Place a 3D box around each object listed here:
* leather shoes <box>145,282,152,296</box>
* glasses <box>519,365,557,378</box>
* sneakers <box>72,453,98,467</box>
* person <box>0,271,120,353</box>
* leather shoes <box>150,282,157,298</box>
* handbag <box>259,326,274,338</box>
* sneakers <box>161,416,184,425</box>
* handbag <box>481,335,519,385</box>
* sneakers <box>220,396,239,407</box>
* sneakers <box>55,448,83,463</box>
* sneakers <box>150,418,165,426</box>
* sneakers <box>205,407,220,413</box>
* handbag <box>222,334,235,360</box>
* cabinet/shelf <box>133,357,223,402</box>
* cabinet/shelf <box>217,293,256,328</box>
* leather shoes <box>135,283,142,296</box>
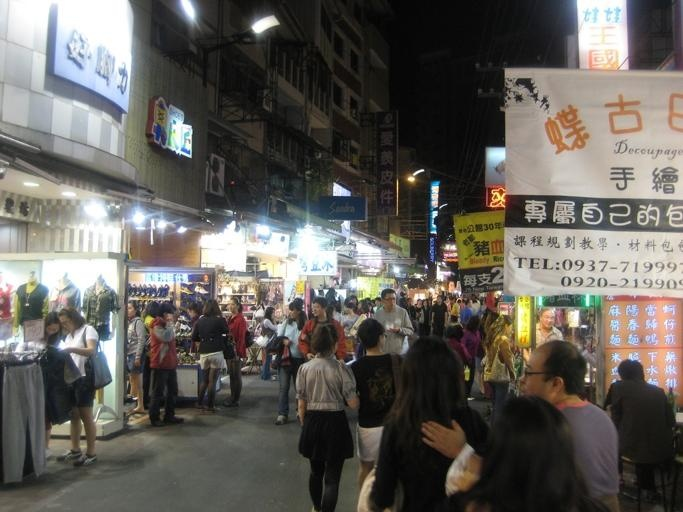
[{"bbox_3d":[-4.302,0.711,13.982,0.083,0.272,0.110,3,3,1],"label":"leather shoes"},{"bbox_3d":[1.559,0.919,4.990,0.108,0.120,0.280,-2,4,-44],"label":"glasses"},{"bbox_3d":[-3.626,2.823,8.851,0.318,0.146,0.122,2,7,-4],"label":"sneakers"},{"bbox_3d":[-4.450,0.904,9.938,1.184,1.223,0.408,-1,-6,0],"label":"person"},{"bbox_3d":[-4.202,0.740,13.975,0.095,0.315,0.127,2,4,4],"label":"leather shoes"},{"bbox_3d":[-1.605,1.597,13.474,0.257,0.215,0.148,-22,-29,16],"label":"handbag"},{"bbox_3d":[-3.013,2.871,11.186,0.390,0.183,0.139,-1,2,-9],"label":"sneakers"},{"bbox_3d":[2.351,1.497,9.537,0.430,0.716,0.667,-2,0,-25],"label":"handbag"},{"bbox_3d":[-2.264,2.895,12.504,0.359,0.159,0.211,8,6,2],"label":"sneakers"},{"bbox_3d":[-3.947,2.816,9.054,0.424,0.202,0.160,2,6,0],"label":"sneakers"},{"bbox_3d":[-3.217,2.850,10.949,0.215,0.229,0.106,0,-1,-7],"label":"sneakers"},{"bbox_3d":[-2.469,2.879,11.940,0.116,0.065,0.181,-2,-5,10],"label":"sneakers"},{"bbox_3d":[-2.186,1.716,12.039,0.252,0.577,0.521,0,-5,1],"label":"handbag"},{"bbox_3d":[-3.170,2.301,11.917,0.549,0.792,1.063,-1,-3,6],"label":"cabinet/shelf"},{"bbox_3d":[-2.569,1.280,15.143,0.860,0.925,0.296,-3,10,3],"label":"cabinet/shelf"},{"bbox_3d":[-4.526,0.718,14.008,0.165,0.086,0.230,-5,38,-10],"label":"leather shoes"}]
